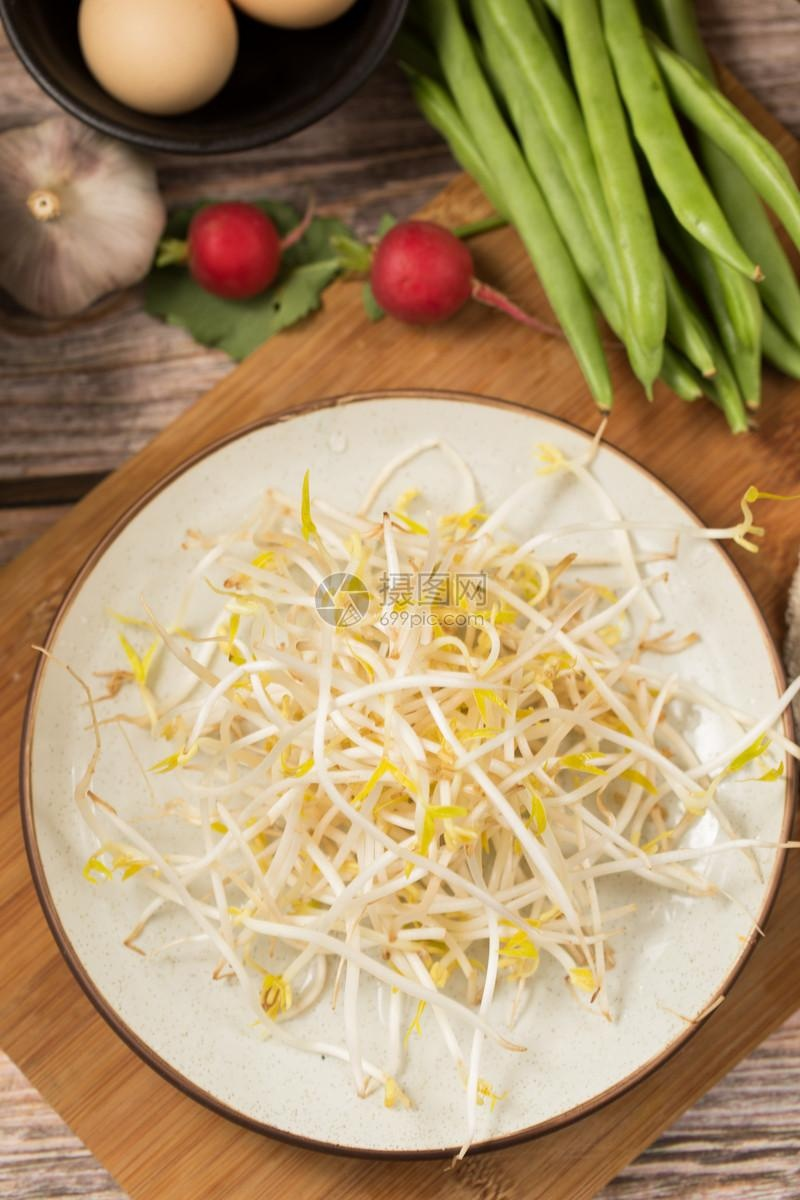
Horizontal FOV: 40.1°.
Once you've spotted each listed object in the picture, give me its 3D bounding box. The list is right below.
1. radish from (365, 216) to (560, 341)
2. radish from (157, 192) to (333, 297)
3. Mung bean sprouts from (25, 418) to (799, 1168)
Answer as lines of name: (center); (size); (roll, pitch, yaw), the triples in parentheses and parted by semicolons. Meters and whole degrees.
radish: (0.058, -0.283, 1.005); (0.180, 0.067, 0.055); (25, 27, -5)
radish: (-0.150, -0.337, 1.069); (0.152, 0.062, 0.081); (-9, 51, 0)
Mung bean sprouts: (0.009, 0.145, 0.959); (0.672, 0.291, 0.607); (12, 62, 1)
